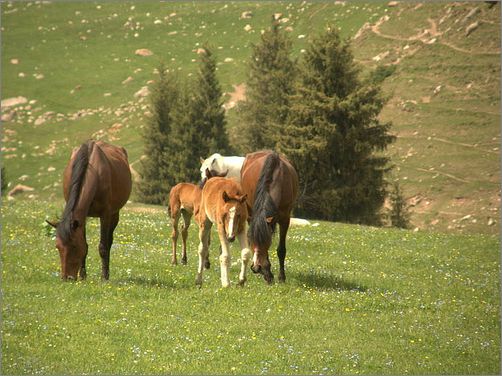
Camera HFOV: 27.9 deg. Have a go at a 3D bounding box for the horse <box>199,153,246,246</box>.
[{"bbox_3d":[-3.900,-3.518,159.323,11.287,6.372,3.175,2,-3,-44],"label":"horse"}]
